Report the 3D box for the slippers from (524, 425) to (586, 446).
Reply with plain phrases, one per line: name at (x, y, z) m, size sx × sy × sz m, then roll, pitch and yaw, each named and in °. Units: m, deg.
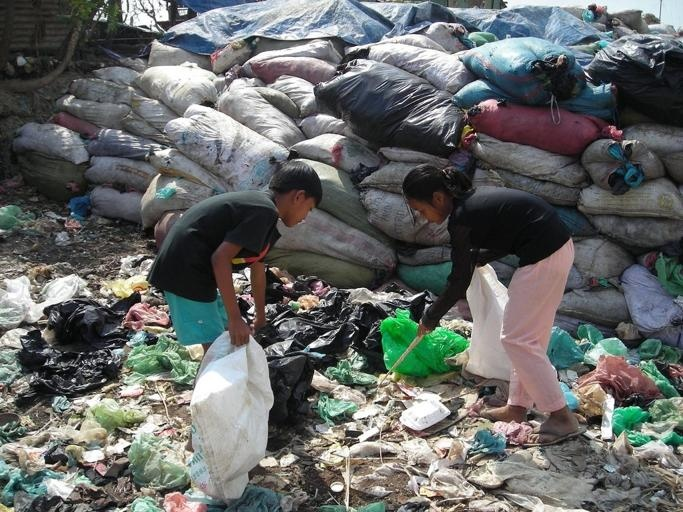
slippers at (1.320, 1.104, 3.705) m, size 0.359 × 0.066 × 0.127 m, roll -3°, pitch -5°, yaw -11°
